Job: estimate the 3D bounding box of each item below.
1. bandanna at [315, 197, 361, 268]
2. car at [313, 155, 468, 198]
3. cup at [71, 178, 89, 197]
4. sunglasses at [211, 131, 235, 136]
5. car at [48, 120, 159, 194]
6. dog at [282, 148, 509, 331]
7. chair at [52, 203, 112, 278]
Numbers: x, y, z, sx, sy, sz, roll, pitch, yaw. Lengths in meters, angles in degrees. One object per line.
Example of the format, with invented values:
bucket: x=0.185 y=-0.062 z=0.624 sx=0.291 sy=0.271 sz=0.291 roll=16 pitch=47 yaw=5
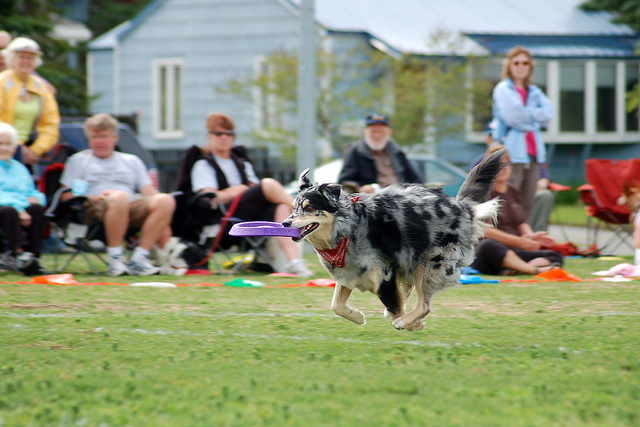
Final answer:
bandanna: x=0.140 y=0.396 z=10.460 sx=0.309 sy=0.316 sz=0.042 roll=1 pitch=5 yaw=19
car: x=1.293 y=-0.670 z=16.846 sx=1.937 sy=0.683 sz=0.996 roll=-4 pitch=8 yaw=-10
cup: x=-2.860 y=-0.313 z=12.335 sx=0.254 sy=0.180 sz=0.211 roll=2 pitch=-4 yaw=-1
sunglasses: x=-1.212 y=-1.006 z=12.875 sx=0.261 sy=0.055 sz=0.060 roll=-1 pitch=4 yaw=-17
car: x=-2.958 y=-0.969 z=13.785 sx=1.072 sy=0.670 sz=1.544 roll=1 pitch=-6 yaw=2
dog: x=0.822 y=0.296 z=10.898 sx=3.115 sy=1.631 sz=1.350 roll=-3 pitch=6 yaw=-39
chair: x=-2.855 y=0.367 z=12.650 sx=0.719 sy=0.723 sz=0.752 roll=-15 pitch=-9 yaw=23
